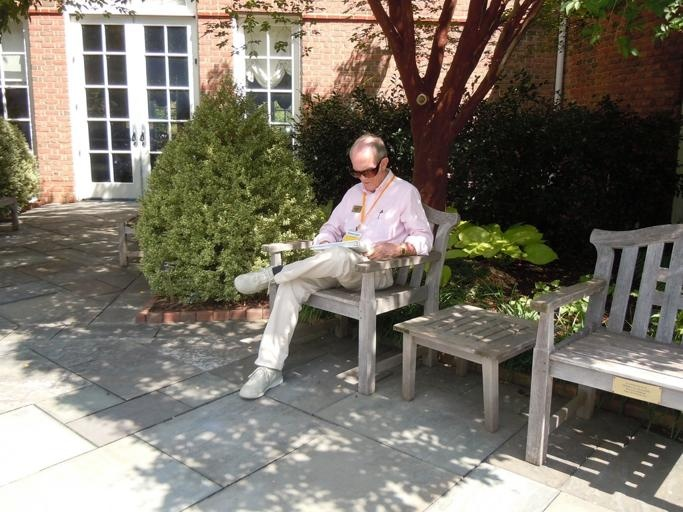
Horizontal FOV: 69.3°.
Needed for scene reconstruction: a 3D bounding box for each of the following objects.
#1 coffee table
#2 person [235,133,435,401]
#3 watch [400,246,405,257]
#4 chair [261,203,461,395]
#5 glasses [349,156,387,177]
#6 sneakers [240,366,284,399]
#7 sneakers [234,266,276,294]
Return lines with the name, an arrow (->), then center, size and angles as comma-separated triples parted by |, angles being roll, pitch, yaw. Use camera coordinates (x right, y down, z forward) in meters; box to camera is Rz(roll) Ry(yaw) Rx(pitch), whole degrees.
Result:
coffee table -> 0.872, 0.597, 3.009 | 0.739, 0.394, 0.753 | 10, 15, 43
person -> -0.055, 0.013, 3.263 | 1.226, 1.599, 0.797 | -5, 15, -21
watch -> 0.390, -0.035, 3.146 | 0.044, 0.059, 0.018 | -10, 17, -38
chair -> 0.183, 0.219, 3.573 | 1.259, 0.947, 1.182 | -10, 10, -12
glasses -> 0.177, -0.602, 3.288 | 0.147, 0.039, 0.147 | -2, 21, 45
sneakers -> -0.501, 0.777, 3.102 | 0.157, 0.114, 0.336 | 25, 27, 27
sneakers -> -0.510, 0.172, 3.365 | 0.417, 0.118, 0.149 | -11, 4, 5
